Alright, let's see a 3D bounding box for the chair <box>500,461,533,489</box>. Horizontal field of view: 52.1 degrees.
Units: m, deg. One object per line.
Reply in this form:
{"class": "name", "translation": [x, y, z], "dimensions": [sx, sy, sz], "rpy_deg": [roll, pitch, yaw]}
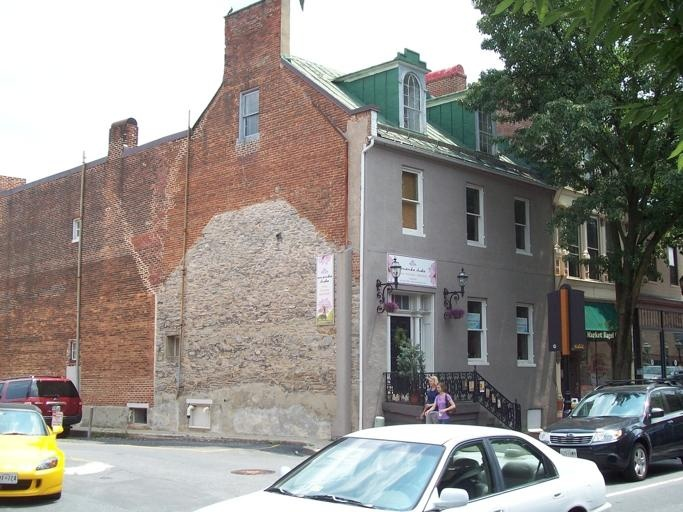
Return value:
{"class": "chair", "translation": [1.998, 2.492, 8.002], "dimensions": [0.304, 0.287, 0.289], "rpy_deg": [9, -23, -32]}

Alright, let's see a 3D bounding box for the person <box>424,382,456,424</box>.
{"class": "person", "translation": [2.563, 3.863, 18.380], "dimensions": [0.705, 1.023, 1.338], "rpy_deg": [-3, -13, 6]}

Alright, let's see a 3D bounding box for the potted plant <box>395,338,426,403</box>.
{"class": "potted plant", "translation": [1.813, 3.538, 20.421], "dimensions": [0.956, 1.978, 1.157], "rpy_deg": [7, -10, -14]}

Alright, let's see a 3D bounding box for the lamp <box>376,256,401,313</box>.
{"class": "lamp", "translation": [1.393, 0.819, 20.491], "dimensions": [0.704, 1.370, 0.375], "rpy_deg": [-6, -18, 22]}

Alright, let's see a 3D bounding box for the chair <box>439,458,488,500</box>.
{"class": "chair", "translation": [1.312, 2.373, 7.593], "dimensions": [0.515, 0.471, 0.404], "rpy_deg": [17, -39, -12]}

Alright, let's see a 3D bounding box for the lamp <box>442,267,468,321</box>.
{"class": "lamp", "translation": [3.677, 1.207, 22.175], "dimensions": [0.877, 1.604, 0.520], "rpy_deg": [6, -15, -31]}

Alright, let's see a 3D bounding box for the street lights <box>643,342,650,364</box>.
{"class": "street lights", "translation": [13.369, 4.261, 30.573], "dimensions": [0.191, 0.944, 0.866], "rpy_deg": [-11, -16, 38]}
